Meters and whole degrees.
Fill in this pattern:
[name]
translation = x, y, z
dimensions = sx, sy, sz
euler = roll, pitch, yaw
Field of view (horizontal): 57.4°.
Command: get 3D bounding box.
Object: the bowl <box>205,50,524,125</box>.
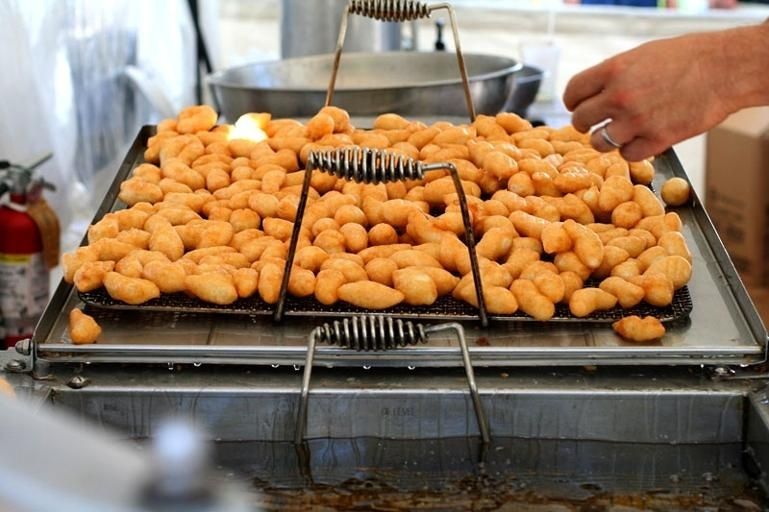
[bowl]
translation = -0.045, -0.397, 1.606
dimensions = 0.696, 0.134, 0.459
euler = 2, 28, 0
